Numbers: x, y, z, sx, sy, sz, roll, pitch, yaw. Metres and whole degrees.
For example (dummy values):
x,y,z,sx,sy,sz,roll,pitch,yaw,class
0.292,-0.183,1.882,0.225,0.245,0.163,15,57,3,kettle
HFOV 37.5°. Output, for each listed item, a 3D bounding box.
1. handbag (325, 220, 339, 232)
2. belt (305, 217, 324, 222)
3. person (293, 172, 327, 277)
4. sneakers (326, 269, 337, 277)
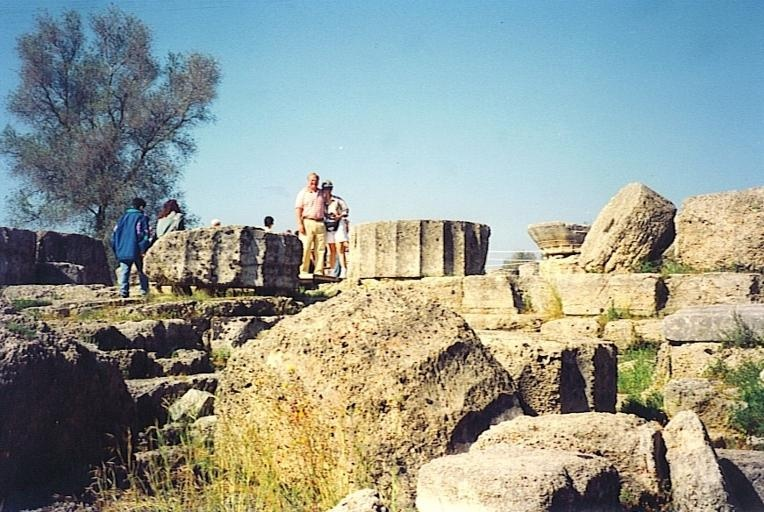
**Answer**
x,y,z,sx,sy,sz,roll,pitch,yaw,class
-0.923,-0.534,20.201,0.184,0.161,0.187,0,1,15,handbag
-1.195,-0.636,19.609,0.332,0.079,0.119,0,-8,-13,belt
-1.272,-0.495,19.811,0.492,1.724,0.995,-1,-8,-4,person
-0.983,0.321,20.978,0.150,0.148,0.135,1,3,-2,sneakers
